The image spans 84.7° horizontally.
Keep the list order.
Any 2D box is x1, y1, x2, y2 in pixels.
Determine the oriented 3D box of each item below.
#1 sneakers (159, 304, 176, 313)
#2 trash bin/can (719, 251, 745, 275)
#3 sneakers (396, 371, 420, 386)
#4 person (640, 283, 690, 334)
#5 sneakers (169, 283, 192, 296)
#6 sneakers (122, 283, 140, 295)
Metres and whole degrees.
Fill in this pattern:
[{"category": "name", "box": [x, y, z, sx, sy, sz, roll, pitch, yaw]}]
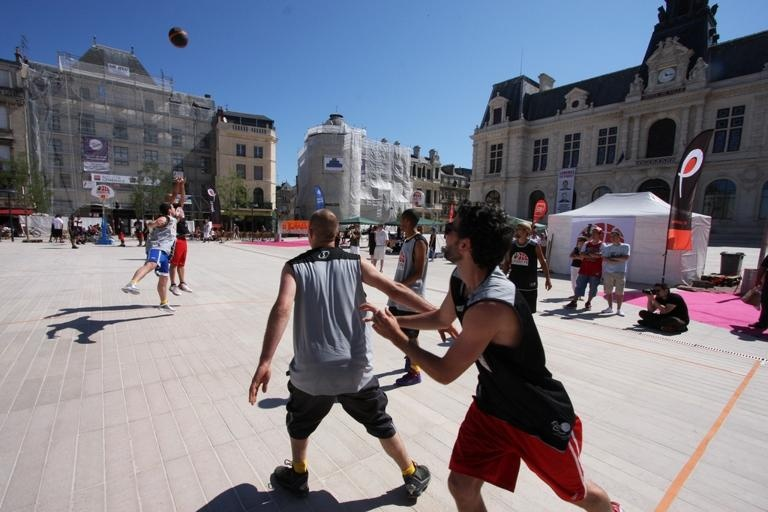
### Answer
[{"category": "sneakers", "box": [-4.780, 1.185, 9.258, 0.165, 0.187, 0.414, 46, -1, 15]}, {"category": "trash bin/can", "box": [13.508, 0.319, 16.422, 0.770, 0.927, 0.697, 9, 0, 38]}, {"category": "sneakers", "box": [0.385, 2.005, 6.795, 0.360, 0.167, 0.174, 4, -4, -18]}, {"category": "person", "box": [6.326, 1.275, 9.707, 0.974, 1.233, 1.225, 1, -3, 6]}, {"category": "sneakers", "box": [-5.076, 0.854, 10.418, 0.380, 0.152, 0.287, 4, 4, 38]}, {"category": "sneakers", "box": [-5.104, 0.689, 8.566, 0.238, 0.255, 0.351, 0, 7, -24]}]
